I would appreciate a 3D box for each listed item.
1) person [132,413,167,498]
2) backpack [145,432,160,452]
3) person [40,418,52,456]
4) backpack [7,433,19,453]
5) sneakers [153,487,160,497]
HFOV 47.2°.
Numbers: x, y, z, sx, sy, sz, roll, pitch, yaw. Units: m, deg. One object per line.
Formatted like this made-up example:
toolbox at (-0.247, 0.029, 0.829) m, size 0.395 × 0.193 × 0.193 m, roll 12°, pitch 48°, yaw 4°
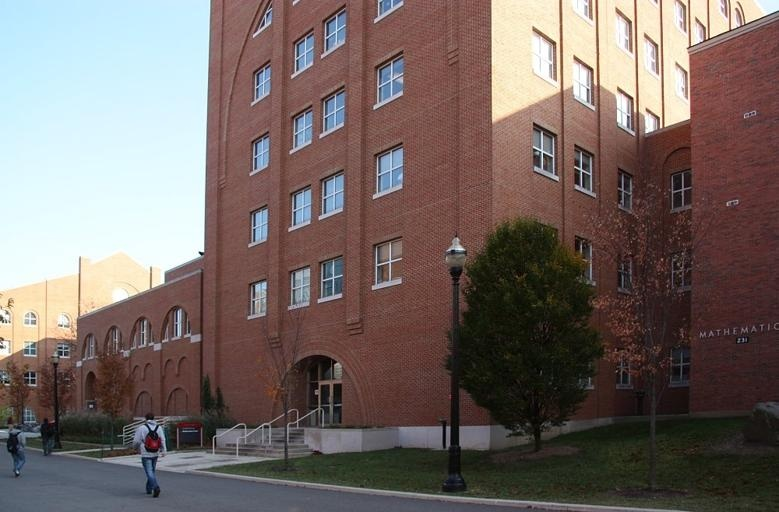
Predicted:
person at (-9.406, 7.905, 35.266) m, size 1.250 × 3.243 × 0.797 m, roll -13°, pitch -17°, yaw 35°
backpack at (-9.407, 7.358, 35.243) m, size 0.601 × 0.763 × 0.445 m, roll 11°, pitch -27°, yaw -37°
person at (-20.795, 10.974, 54.029) m, size 0.574 × 2.221 × 1.313 m, roll 2°, pitch -15°, yaw -20°
backpack at (-17.158, 8.554, 40.598) m, size 0.450 × 0.863 × 0.481 m, roll 3°, pitch -15°, yaw -25°
sneakers at (-9.031, 9.186, 34.539) m, size 0.159 × 0.164 × 0.400 m, roll -1°, pitch -49°, yaw -20°
